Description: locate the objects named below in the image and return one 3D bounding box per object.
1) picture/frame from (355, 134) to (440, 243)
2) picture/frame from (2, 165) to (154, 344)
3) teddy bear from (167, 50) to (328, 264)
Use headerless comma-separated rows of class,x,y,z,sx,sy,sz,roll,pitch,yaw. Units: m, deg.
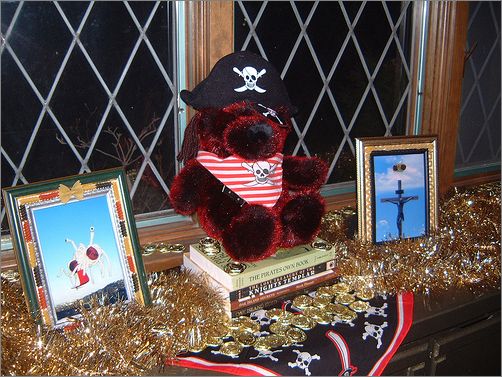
picture/frame,0.514,-0.001,1.856,0.367,0.440,0.042,-3,2,-17
picture/frame,-0.513,0.203,1.506,0.425,0.550,0.056,-12,-1,-30
teddy bear,0.007,-0.125,1.733,0.525,0.626,0.409,-7,16,-21
